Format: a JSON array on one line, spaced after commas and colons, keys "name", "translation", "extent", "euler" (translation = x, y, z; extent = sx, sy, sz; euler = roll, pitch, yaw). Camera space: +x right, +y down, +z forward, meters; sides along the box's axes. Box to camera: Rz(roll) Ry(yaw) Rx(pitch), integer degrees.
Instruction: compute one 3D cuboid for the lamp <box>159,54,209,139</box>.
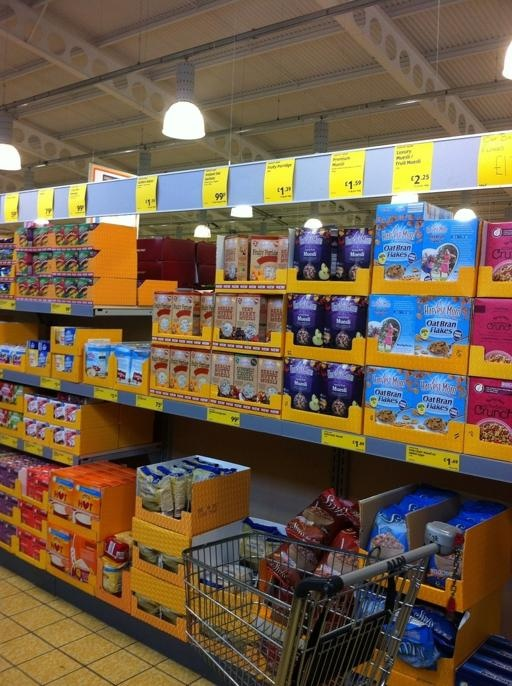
[{"name": "lamp", "translation": [-0.610, -2.107, 4.622], "extent": [0.366, 0.578, 0.344], "euler": [-7, 30, -31]}]
